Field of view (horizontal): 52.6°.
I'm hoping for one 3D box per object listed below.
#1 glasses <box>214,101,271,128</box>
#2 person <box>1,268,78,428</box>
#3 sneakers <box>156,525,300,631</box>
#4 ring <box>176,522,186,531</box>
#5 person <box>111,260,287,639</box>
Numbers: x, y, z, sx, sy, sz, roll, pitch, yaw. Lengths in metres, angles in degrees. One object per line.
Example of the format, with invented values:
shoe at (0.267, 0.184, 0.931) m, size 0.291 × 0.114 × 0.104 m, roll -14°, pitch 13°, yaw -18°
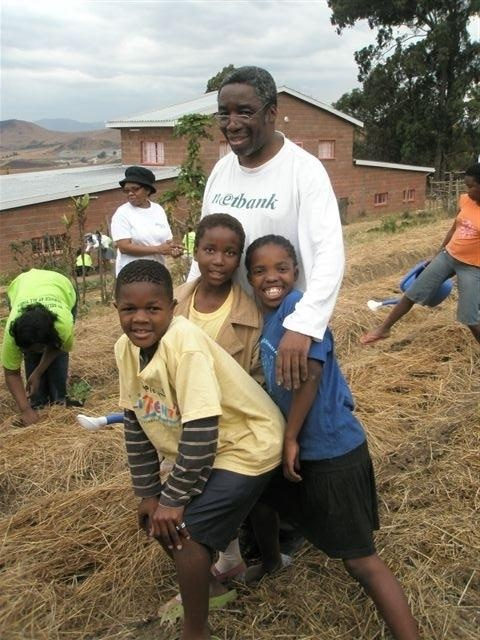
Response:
glasses at (0.009, -0.717, 1.698) m, size 0.189 × 0.075 × 0.089 m, roll -1°, pitch 14°, yaw 4°
person at (-1.508, 0.257, 3.676) m, size 0.427 × 1.205 × 1.246 m, roll 4°, pitch -28°, yaw -12°
sneakers at (-0.060, 1.008, 2.047) m, size 0.688 × 0.262 × 0.205 m, roll -5°, pitch -10°, yaw -39°
ring at (-0.156, 0.552, 1.294) m, size 0.023 × 0.024 × 0.016 m, roll 7°, pitch 22°, yaw -39°
person at (-0.126, 0.332, 1.495) m, size 0.468 × 1.026 × 0.487 m, roll -13°, pitch 18°, yaw -35°
